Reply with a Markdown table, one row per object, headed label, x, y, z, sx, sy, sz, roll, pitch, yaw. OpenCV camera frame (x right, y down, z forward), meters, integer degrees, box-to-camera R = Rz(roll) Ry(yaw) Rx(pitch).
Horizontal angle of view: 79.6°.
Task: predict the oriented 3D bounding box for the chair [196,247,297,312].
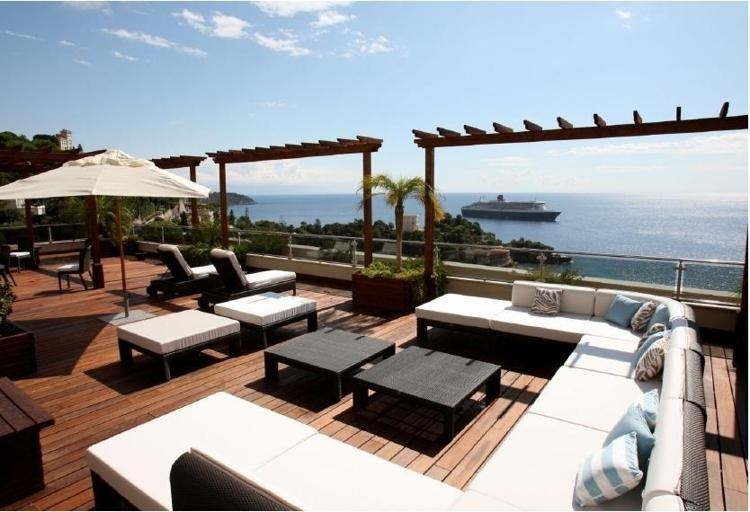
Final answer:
| label | x | y | z | sx | sy | sz | roll | pitch | yaw |
| --- | --- | --- | --- | --- | --- | --- | --- | --- | --- |
| chair | -2.527 | 0.337 | 8.405 | 1.832 | 1.046 | 1.016 | -8 | 12 | -44 |

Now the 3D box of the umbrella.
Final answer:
| label | x | y | z | sx | sy | sz | roll | pitch | yaw |
| --- | --- | --- | --- | --- | --- | --- | --- | --- | --- |
| umbrella | -3.987 | -0.765 | 7.761 | 3.215 | 2.574 | 3.004 | -2 | 12 | -9 |
